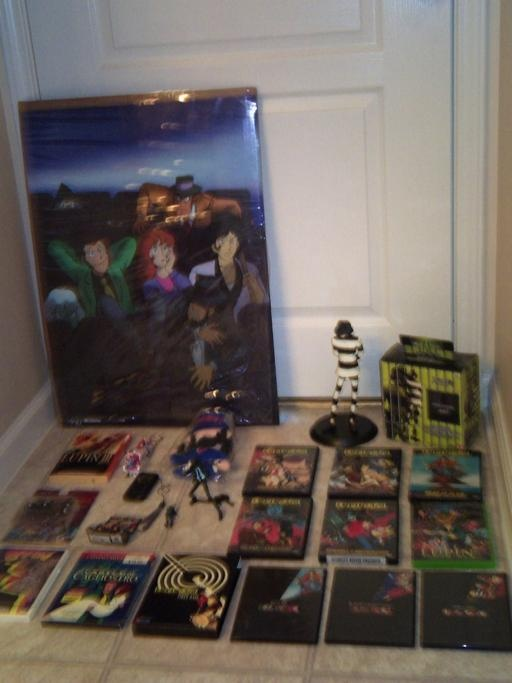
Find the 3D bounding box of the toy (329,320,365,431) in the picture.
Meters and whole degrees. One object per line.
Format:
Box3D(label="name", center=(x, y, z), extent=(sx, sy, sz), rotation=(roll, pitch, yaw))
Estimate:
Box3D(label="toy", center=(0.313, 0.087, 1.822), extent=(0.126, 0.408, 0.244), rotation=(-4, 20, 11))
